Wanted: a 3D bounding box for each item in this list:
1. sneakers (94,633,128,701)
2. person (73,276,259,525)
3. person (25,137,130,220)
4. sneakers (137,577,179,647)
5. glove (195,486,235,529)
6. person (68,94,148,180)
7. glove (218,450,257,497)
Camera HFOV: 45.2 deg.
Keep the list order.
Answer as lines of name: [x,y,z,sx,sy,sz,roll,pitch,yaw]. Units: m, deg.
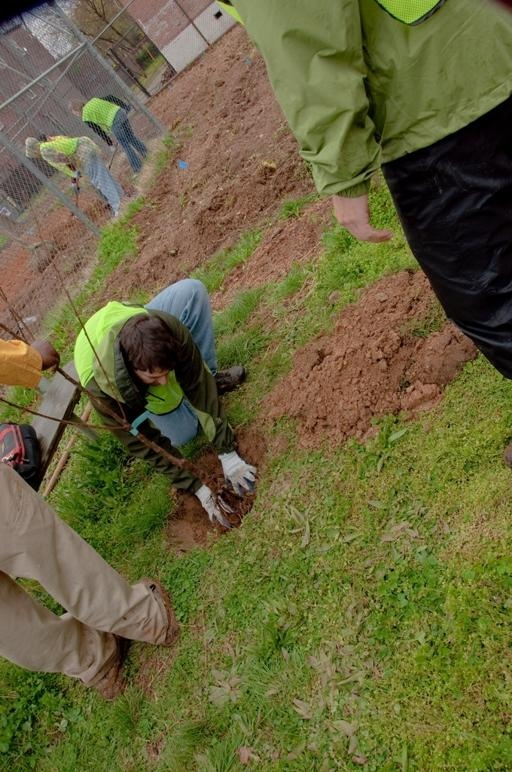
sneakers: [-0.744,1.502,3.269,0.205,0.311,0.166,1,11,2]
person: [-0.525,0.164,3.781,0.848,1.131,1.307,-40,-11,-11]
person: [-2.544,-3.137,9.007,0.773,1.363,1.083,-41,20,9]
sneakers: [-0.483,1.191,3.312,0.102,0.331,0.231,-4,-32,-38]
glove: [-0.231,0.690,3.500,0.078,0.253,0.170,-12,-35,-39]
person: [-2.189,-3.942,9.331,0.545,1.503,0.505,-51,5,-18]
glove: [-0.107,0.497,3.481,0.181,0.257,0.077,-38,-11,1]
